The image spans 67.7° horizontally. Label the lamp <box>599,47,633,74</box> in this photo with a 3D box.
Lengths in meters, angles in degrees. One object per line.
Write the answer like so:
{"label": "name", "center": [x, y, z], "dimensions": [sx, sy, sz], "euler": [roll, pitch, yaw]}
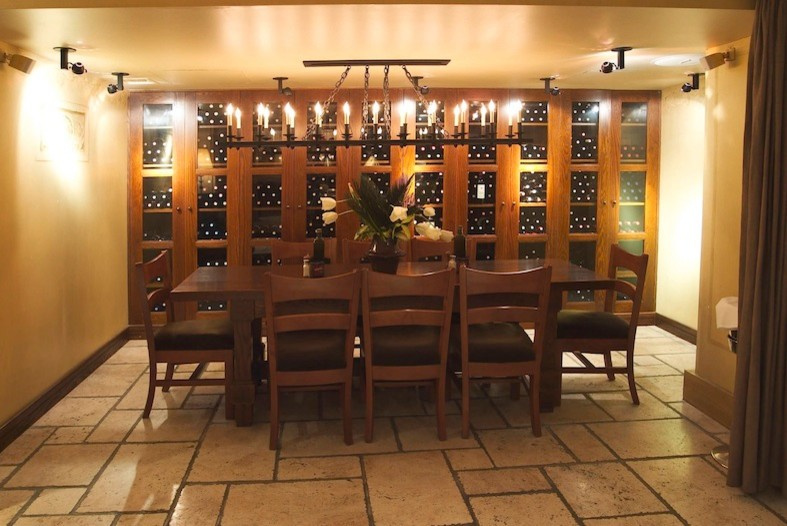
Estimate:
{"label": "lamp", "center": [2.046, -1.869, 5.420], "dimensions": [0.300, 0.258, 0.208], "euler": [2, 7, 10]}

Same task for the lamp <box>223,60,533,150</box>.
{"label": "lamp", "center": [-0.186, -1.561, 5.938], "dimensions": [2.521, 0.824, 2.123], "euler": [-1, 12, 0]}

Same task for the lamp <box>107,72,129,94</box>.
{"label": "lamp", "center": [-2.885, -1.896, 6.164], "dimensions": [0.251, 0.232, 0.193], "euler": [1, 6, -10]}

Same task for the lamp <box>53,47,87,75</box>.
{"label": "lamp", "center": [-2.860, -1.746, 5.161], "dimensions": [0.319, 0.270, 0.212], "euler": [-2, 9, -28]}

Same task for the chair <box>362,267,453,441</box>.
{"label": "chair", "center": [0.109, 0.681, 4.682], "dimensions": [0.711, 1.372, 0.483], "euler": [-2, 12, -3]}

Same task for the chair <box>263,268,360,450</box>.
{"label": "chair", "center": [-0.632, 0.701, 4.656], "dimensions": [0.747, 1.357, 0.599], "euler": [-3, 12, -10]}
